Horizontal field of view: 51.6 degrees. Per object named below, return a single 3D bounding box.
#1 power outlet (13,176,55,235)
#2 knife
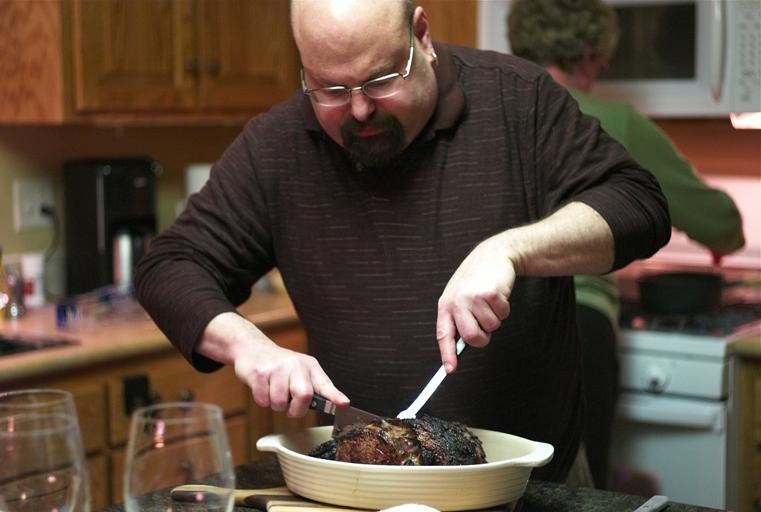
[{"bbox_3d":[-1.158,-0.173,2.631,0.036,0.161,0.161,5,7,14],"label":"power outlet"},{"bbox_3d":[-0.096,0.318,1.625,0.221,0.065,0.027,16,11,9],"label":"knife"}]
